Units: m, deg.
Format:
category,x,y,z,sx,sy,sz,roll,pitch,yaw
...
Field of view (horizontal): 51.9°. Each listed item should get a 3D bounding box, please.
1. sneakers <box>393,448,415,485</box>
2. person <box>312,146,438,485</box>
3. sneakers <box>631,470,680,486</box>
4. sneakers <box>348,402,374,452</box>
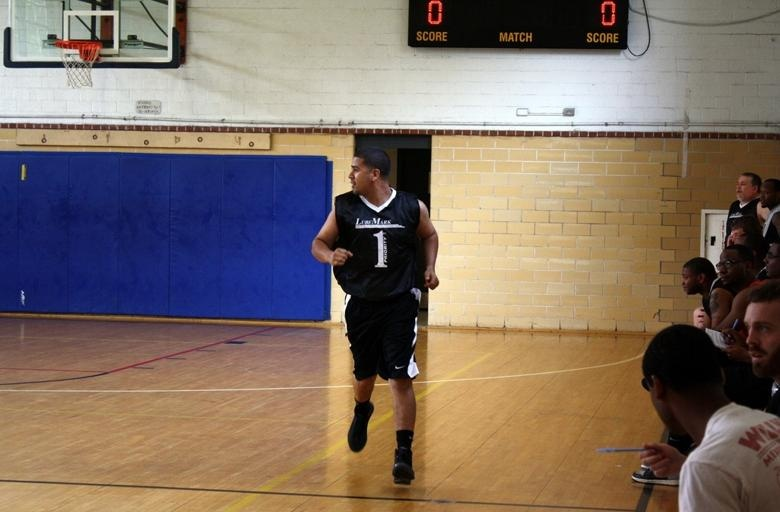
category,x,y,z,sx,sy,sz,roll,pitch,yaw
sneakers,0.108,1.650,6.331,0.177,0.299,0.187,1,6,1
person,-0.121,0.450,6.520,0.955,2.640,0.713,2,6,13
sneakers,2.128,1.769,6.446,0.350,0.113,0.221,2,6,13
sneakers,-0.282,1.434,6.757,0.192,0.470,0.202,2,-13,26
